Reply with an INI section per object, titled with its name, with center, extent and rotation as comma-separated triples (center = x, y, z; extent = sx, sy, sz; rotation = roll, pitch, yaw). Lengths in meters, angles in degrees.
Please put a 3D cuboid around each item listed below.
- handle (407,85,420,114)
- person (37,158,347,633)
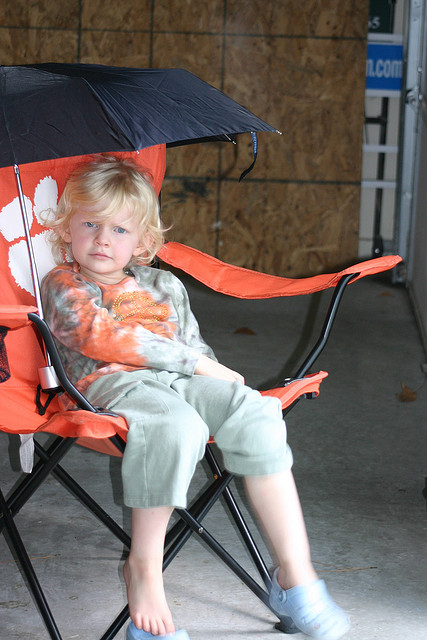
[handle]
center = 1.325, -1.438, 3.955
extent = 0.032, 0.170, 0.100
rotation = -5, 15, -21
[person]
center = -0.095, 0.134, 1.121
extent = 0.425, 0.860, 0.699
rotation = -3, 14, -15
